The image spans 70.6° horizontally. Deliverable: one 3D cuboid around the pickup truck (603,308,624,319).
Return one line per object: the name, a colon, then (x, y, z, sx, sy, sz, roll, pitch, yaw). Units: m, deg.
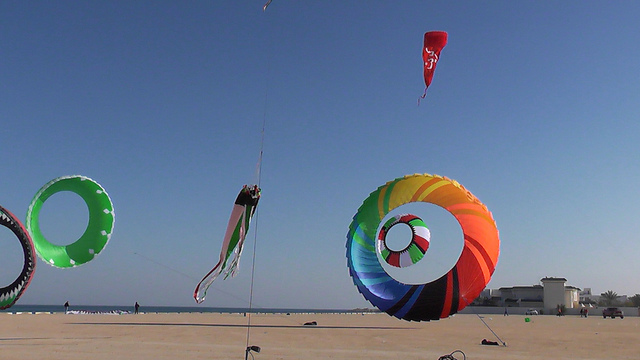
pickup truck: (34.928, 15.970, 54.386, 1.268, 0.955, 2.060, 6, -4, -17)

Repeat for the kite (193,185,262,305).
kite: (-2.748, 1.712, 14.664, 0.688, 4.241, 1.415, 19, 0, 38)

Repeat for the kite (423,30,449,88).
kite: (5.299, -5.666, 21.016, 0.987, 2.719, 0.966, 0, -24, 7)

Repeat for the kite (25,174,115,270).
kite: (-10.396, 1.764, 18.879, 3.143, 3.568, 1.561, 11, -25, -18)

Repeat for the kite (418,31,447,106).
kite: (5.219, -5.605, 21.013, 0.859, 2.842, 1.108, 15, -26, -25)
